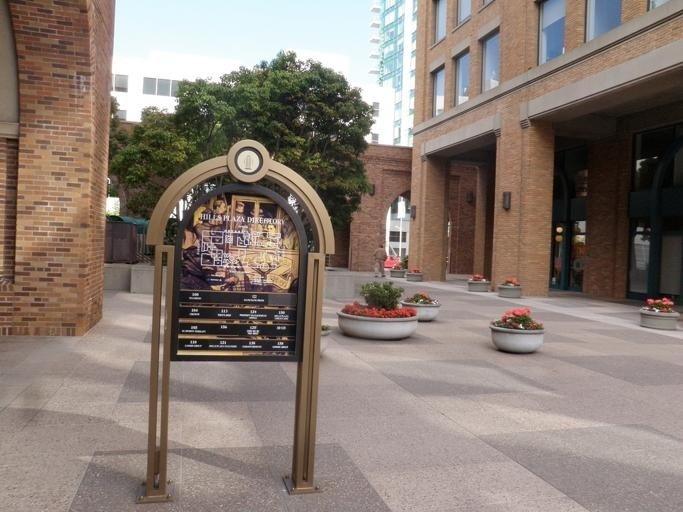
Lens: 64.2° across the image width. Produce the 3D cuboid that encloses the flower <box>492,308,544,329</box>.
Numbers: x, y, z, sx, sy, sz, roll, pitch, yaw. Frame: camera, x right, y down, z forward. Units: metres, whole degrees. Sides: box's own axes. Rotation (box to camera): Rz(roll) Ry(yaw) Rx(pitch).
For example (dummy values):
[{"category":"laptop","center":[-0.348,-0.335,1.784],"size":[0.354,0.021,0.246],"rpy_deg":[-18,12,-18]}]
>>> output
[{"category":"flower","center":[3.571,1.298,10.865],"size":[0.795,0.314,0.833],"rpy_deg":[0,-4,15]}]

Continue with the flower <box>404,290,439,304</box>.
[{"category":"flower","center":[2.129,1.162,14.659],"size":[0.665,0.232,0.680],"rpy_deg":[1,-4,16]}]

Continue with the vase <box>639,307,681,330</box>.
[{"category":"vase","center":[8.390,1.583,14.457],"size":[0.661,0.329,0.672],"rpy_deg":[1,-2,-7]}]

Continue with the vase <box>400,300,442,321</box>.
[{"category":"vase","center":[2.206,1.423,14.342],"size":[0.595,0.312,0.602],"rpy_deg":[1,2,-11]}]

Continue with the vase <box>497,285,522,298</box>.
[{"category":"vase","center":[6.593,1.359,21.314],"size":[0.824,0.522,0.554],"rpy_deg":[4,6,10]}]

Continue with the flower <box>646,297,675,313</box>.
[{"category":"flower","center":[9.136,1.396,15.587],"size":[0.590,0.359,0.587],"rpy_deg":[4,-4,42]}]

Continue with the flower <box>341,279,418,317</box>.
[{"category":"flower","center":[0.833,1.050,12.063],"size":[1.020,0.611,1.012],"rpy_deg":[1,8,-10]}]
